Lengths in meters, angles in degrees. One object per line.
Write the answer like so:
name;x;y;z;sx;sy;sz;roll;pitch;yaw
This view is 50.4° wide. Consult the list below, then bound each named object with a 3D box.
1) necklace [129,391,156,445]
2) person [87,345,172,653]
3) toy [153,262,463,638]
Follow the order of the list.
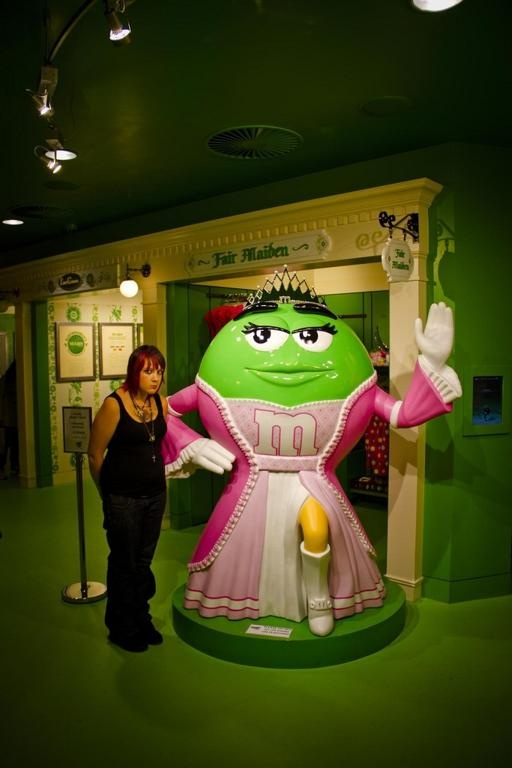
necklace;-0.543;0.164;2.614;0.027;0.238;0.074;-21;-5;41
person;-0.633;0.590;2.685;0.367;1.537;0.358;0;0;-17
toy;0.214;0.353;2.769;1.384;1.642;0.601;0;0;-5
